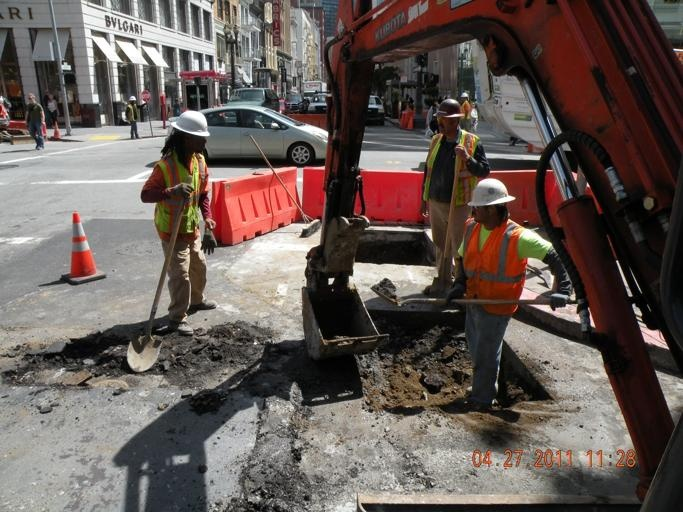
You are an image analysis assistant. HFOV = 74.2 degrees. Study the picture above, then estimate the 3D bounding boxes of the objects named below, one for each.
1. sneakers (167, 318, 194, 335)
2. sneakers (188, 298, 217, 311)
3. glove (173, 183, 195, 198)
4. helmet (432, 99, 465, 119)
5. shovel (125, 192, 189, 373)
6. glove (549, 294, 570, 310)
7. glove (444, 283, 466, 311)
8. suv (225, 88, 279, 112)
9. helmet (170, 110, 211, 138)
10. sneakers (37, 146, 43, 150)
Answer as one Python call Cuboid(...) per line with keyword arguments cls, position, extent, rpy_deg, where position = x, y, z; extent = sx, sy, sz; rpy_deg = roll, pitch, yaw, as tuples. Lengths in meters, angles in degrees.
Cuboid(cls="sneakers", position=(-1.793, 0.790, 5.063), extent=(0.353, 0.175, 0.128), rpy_deg=(10, 9, 23))
Cuboid(cls="sneakers", position=(-1.729, 0.616, 5.584), extent=(0.340, 0.167, 0.123), rpy_deg=(-7, 13, -18))
Cuboid(cls="glove", position=(-1.642, -0.658, 4.618), extent=(0.142, 0.126, 0.196), rpy_deg=(-3, 9, -26))
Cuboid(cls="helmet", position=(1.293, -1.729, 5.302), extent=(0.264, 0.146, 0.231), rpy_deg=(-10, 24, -23))
Cuboid(cls="shovel", position=(-1.763, 0.438, 4.246), extent=(0.280, 1.531, 0.194), rpy_deg=(17, 21, -17))
Cuboid(cls="glove", position=(1.559, 0.320, 3.259), extent=(0.101, 0.118, 0.046), rpy_deg=(7, -14, 7))
Cuboid(cls="glove", position=(0.972, 0.338, 3.826), extent=(0.074, 0.260, 0.178), rpy_deg=(11, -6, 5))
Cuboid(cls="suv", position=(-4.543, -8.254, 23.517), extent=(1.625, 1.394, 2.672), rpy_deg=(1, 18, -3))
Cuboid(cls="helmet", position=(-1.624, -1.391, 4.749), extent=(0.415, 0.189, 0.379), rpy_deg=(27, 20, 5))
Cuboid(cls="sneakers", position=(-12.346, -4.354, 18.247), extent=(0.313, 0.152, 0.115), rpy_deg=(-8, 12, 18))
